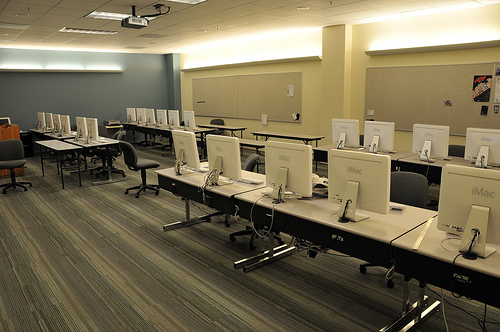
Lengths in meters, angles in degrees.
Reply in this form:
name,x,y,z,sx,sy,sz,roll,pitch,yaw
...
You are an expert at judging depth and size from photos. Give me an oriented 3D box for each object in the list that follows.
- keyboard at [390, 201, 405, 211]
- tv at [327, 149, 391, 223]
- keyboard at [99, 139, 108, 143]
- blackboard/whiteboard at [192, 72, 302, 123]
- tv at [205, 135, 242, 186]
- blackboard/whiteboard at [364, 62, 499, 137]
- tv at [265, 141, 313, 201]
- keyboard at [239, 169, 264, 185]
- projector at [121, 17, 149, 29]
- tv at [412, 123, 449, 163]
name,x,y,z,sx,sy,sz,roll,pitch,yaw
keyboard,1.673,0.460,3.605,0.152,0.051,0.180,4,11,24
tv,1.113,0.217,3.266,0.719,0.644,0.245,11,24,42
keyboard,-3.760,-0.636,7.983,0.200,0.045,0.187,-5,15,-38
blackboard/whiteboard,-0.100,-2.370,11.080,4.363,1.624,0.119,8,15,41
tv,-0.387,-0.061,4.326,0.704,0.636,0.252,14,27,38
blackboard/whiteboard,4.211,-1.511,7.154,2.423,1.037,0.046,7,13,41
tv,0.444,0.065,3.723,0.675,0.578,0.241,12,27,37
keyboard,-0.001,0.173,4.624,0.270,0.063,0.240,10,14,38
projector,-2.279,-2.783,6.262,0.400,0.119,0.297,-8,13,-38
tv,3.091,-0.379,5.432,0.650,0.587,0.228,12,27,38
